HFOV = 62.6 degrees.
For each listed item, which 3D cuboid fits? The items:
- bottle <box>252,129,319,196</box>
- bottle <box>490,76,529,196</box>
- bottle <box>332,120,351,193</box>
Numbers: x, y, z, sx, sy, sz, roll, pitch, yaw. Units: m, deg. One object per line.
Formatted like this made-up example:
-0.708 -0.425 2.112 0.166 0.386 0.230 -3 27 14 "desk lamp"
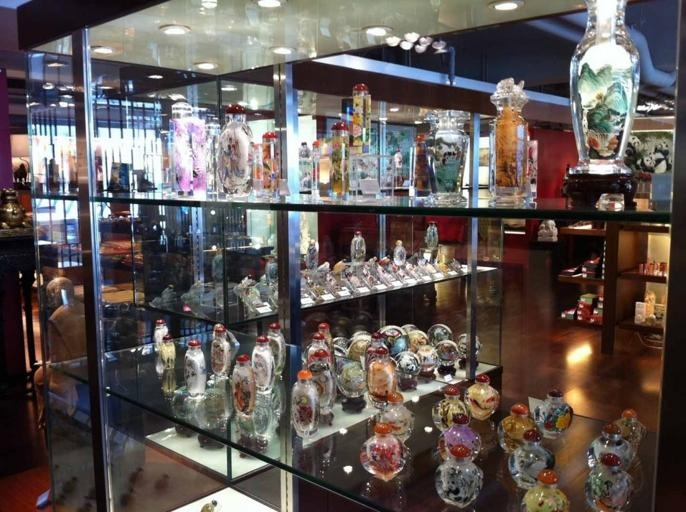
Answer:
-0.226 -0.342 2.038 0.148 0.234 0.251 2 8 23 "bottle"
0.450 -0.324 1.529 0.095 0.329 0.189 1 7 16 "bottle"
-0.010 -0.310 1.809 0.062 0.231 0.056 -2 7 -1 "bottle"
